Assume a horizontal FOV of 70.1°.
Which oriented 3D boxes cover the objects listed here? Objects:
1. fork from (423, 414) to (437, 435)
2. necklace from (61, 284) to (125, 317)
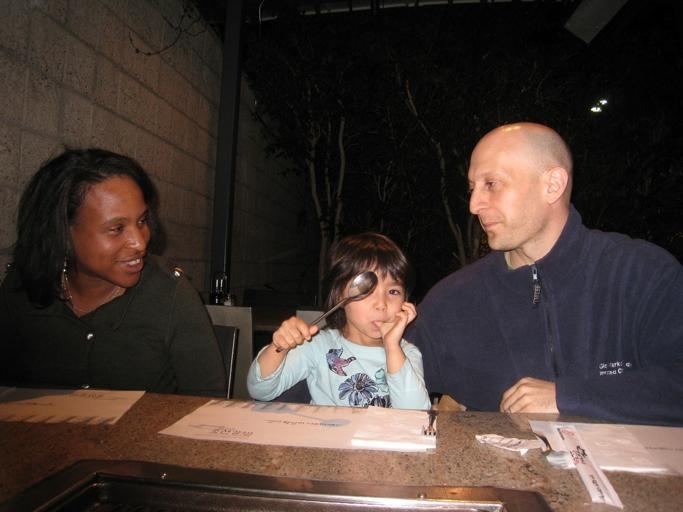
[{"bbox_3d":[0.225,0.422,1.208,0.027,0.053,0.028,-1,-7,27],"label":"fork"},{"bbox_3d":[-0.882,0.169,1.732,0.105,0.138,0.062,3,-5,-12],"label":"necklace"}]
